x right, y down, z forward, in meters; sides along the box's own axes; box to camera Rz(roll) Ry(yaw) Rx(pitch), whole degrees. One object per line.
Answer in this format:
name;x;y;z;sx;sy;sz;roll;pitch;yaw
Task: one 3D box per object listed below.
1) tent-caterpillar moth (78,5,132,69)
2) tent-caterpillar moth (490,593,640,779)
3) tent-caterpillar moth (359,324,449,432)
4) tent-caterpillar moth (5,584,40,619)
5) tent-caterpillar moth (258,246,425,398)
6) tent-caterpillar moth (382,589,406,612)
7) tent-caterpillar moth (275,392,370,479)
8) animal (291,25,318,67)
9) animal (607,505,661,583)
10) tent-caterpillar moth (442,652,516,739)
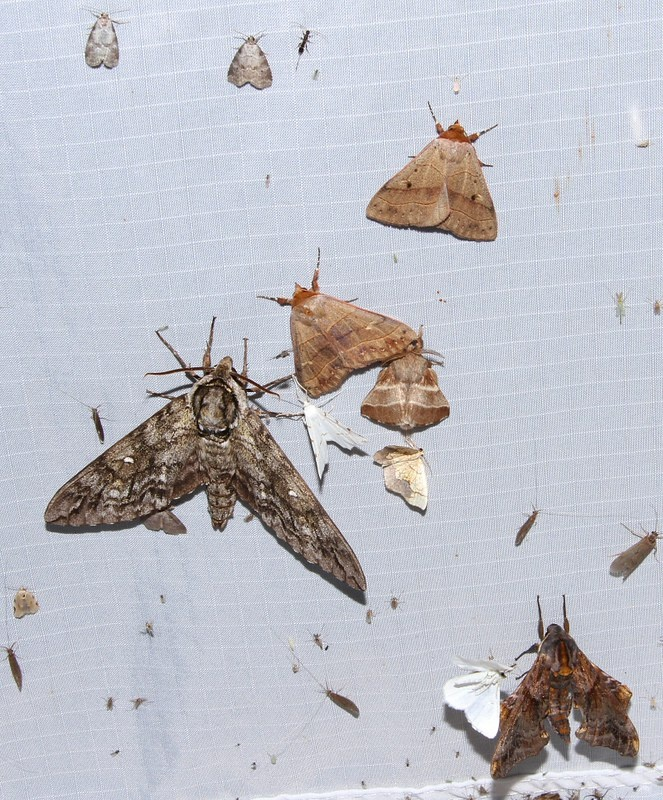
tent-caterpillar moth;-1.317;-2.085;9.416;0.270;0.325;0.084;2;10;-3
tent-caterpillar moth;1.372;1.665;9.583;0.822;0.921;0.298;-3;3;11
tent-caterpillar moth;0.475;-0.104;9.603;0.514;0.155;0.547;-1;41;13
tent-caterpillar moth;-1.855;1.190;9.791;0.156;0.186;0.050;-1;7;-4
tent-caterpillar moth;0.005;-0.505;9.530;0.772;0.163;0.758;11;-18;-9
tent-caterpillar moth;0.379;1.184;9.753;0.131;0.120;0.040;0;8;-3
tent-caterpillar moth;0.009;0.217;9.673;0.467;0.147;0.640;21;22;-22
animal;-0.149;-2.050;9.521;0.106;0.150;0.043;19;11;11
animal;1.829;0.913;9.812;0.332;0.244;0.094;-45;0;5
tent-caterpillar moth;0.912;1.756;9.634;0.462;0.283;0.587;-15;29;10
